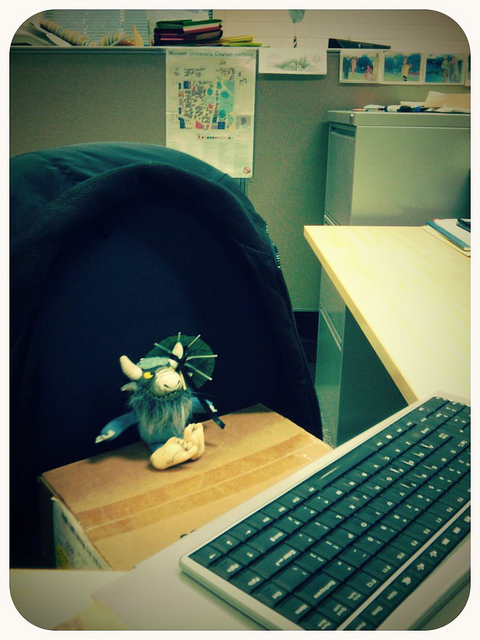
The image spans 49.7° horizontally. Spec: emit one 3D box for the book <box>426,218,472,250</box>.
[{"bbox_3d":[0.334,-0.134,0.822,0.072,0.014,0.071,25,18,-10],"label":"book"}]

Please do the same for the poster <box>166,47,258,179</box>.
[{"bbox_3d":[-0.052,-0.405,1.020,0.197,0.238,0.111,-4,14,-13],"label":"poster"}]

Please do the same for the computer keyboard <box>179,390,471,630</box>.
[{"bbox_3d":[0.099,0.109,0.346,0.127,0.061,0.265,11,17,39],"label":"computer keyboard"}]

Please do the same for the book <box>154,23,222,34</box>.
[{"bbox_3d":[-0.092,-0.522,0.932,0.126,0.011,0.040,3,14,12],"label":"book"}]

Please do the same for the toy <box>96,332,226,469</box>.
[{"bbox_3d":[-0.099,0.094,0.595,0.137,0.130,0.078,-4,7,-27],"label":"toy"}]
